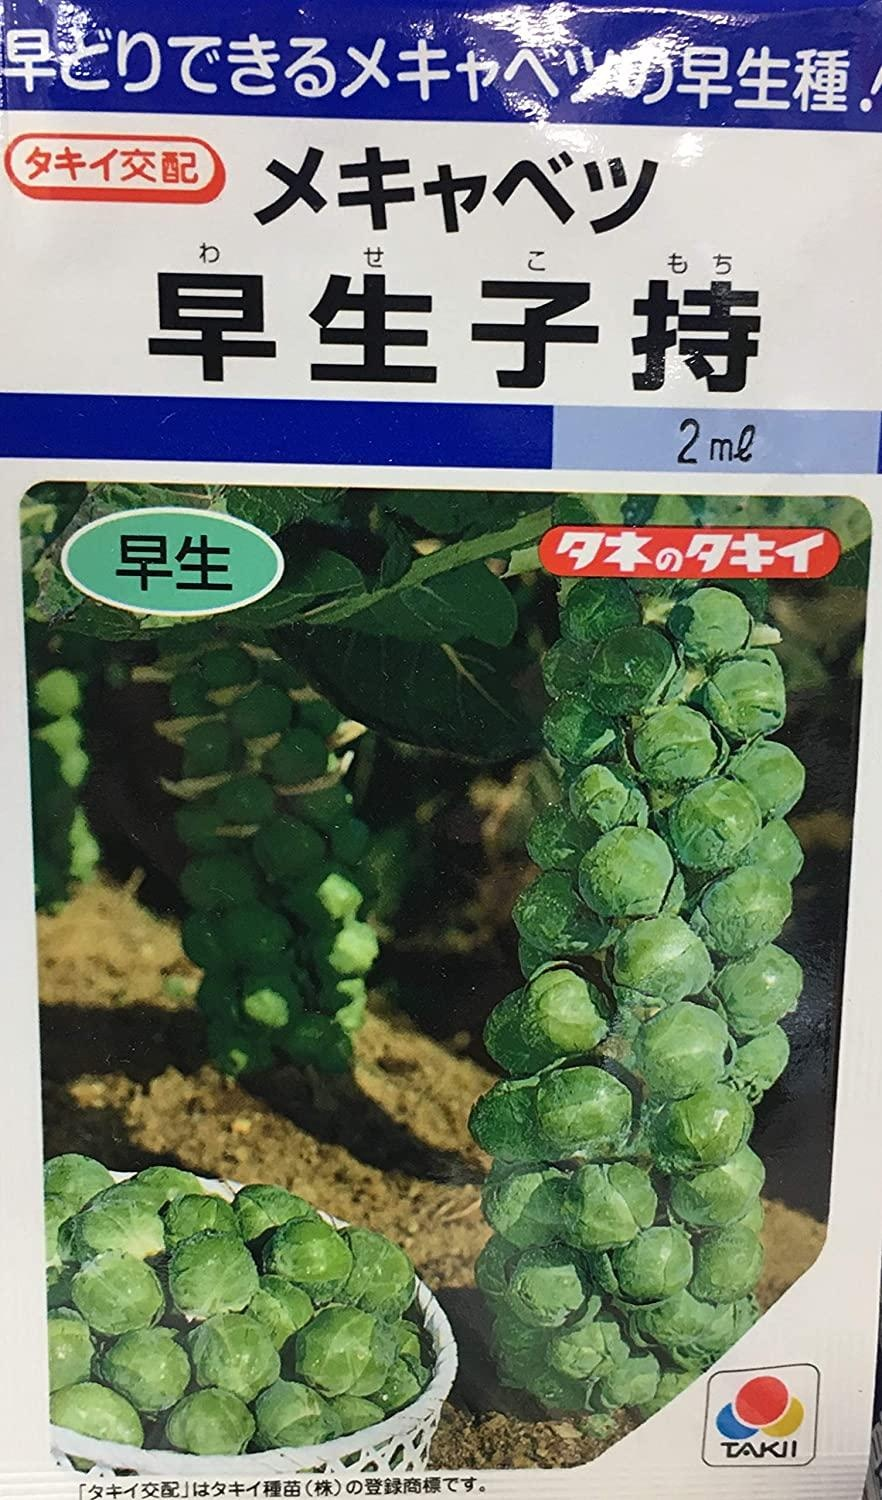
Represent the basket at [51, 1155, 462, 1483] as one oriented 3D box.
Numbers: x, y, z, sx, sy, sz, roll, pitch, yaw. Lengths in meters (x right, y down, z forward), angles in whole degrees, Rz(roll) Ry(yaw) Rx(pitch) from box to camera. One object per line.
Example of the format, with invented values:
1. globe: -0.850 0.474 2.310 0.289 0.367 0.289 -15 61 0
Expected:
1. basket: -0.284 1.010 2.195 0.601 0.196 0.571 11 28 -24
